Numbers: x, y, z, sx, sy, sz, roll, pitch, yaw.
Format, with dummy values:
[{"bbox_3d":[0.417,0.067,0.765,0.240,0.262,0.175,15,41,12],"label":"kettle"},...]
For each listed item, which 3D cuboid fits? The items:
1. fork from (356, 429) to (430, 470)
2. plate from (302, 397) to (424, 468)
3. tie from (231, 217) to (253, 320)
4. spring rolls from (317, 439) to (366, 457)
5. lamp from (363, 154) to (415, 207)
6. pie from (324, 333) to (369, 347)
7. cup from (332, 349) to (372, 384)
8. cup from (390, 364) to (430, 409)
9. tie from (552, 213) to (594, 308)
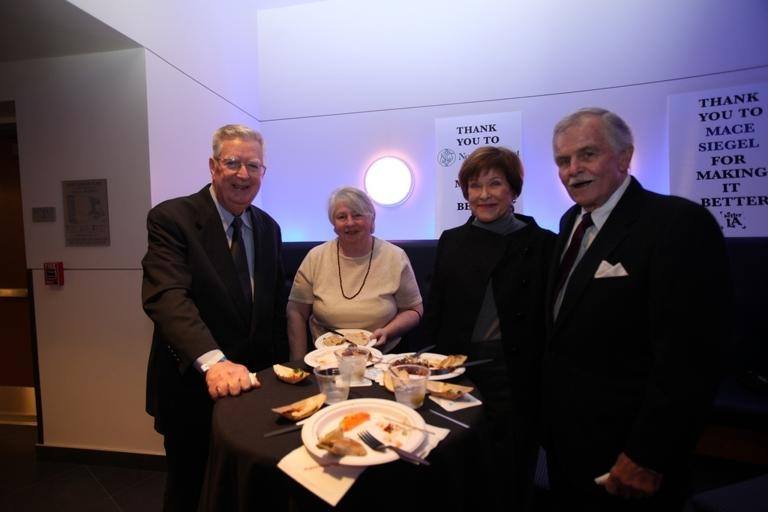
[{"bbox_3d":[0.054,1.139,3.176,0.562,0.083,0.099,13,48,33],"label":"fork"},{"bbox_3d":[-0.117,1.049,3.226,0.449,0.052,0.412,-5,12,-32],"label":"plate"},{"bbox_3d":[-1.051,0.047,4.049,0.123,0.834,0.090,7,-22,-36],"label":"tie"},{"bbox_3d":[-0.239,1.101,3.142,0.184,0.050,0.124,15,6,-11],"label":"spring rolls"},{"bbox_3d":[0.043,-0.792,5.802,0.507,0.522,0.120,2,1,19],"label":"lamp"},{"bbox_3d":[-0.296,0.630,4.046,0.353,0.064,0.181,-1,8,21],"label":"pie"},{"bbox_3d":[-0.211,0.715,3.590,0.218,0.173,0.205,-1,0,0],"label":"cup"},{"bbox_3d":[0.174,0.832,3.529,0.252,0.192,0.248,1,0,0],"label":"cup"},{"bbox_3d":[1.271,0.052,3.643,0.100,0.717,0.096,37,-20,-23],"label":"tie"}]
